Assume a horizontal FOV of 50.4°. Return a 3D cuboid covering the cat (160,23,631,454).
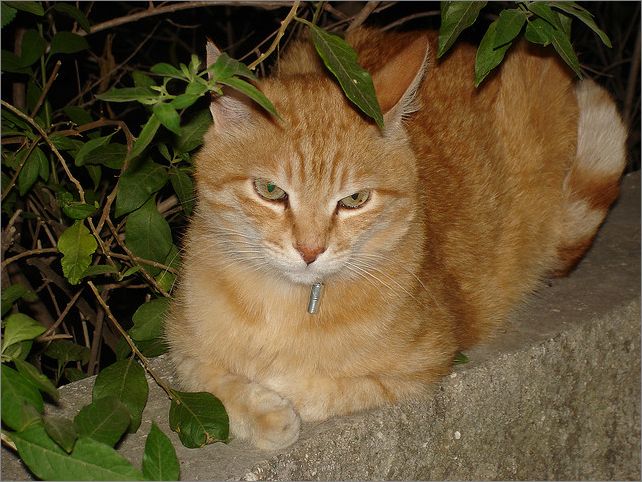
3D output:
[{"bbox_3d":[0.165,-0.246,3.187,1.615,1.255,2.218,23,63,41],"label":"cat"}]
